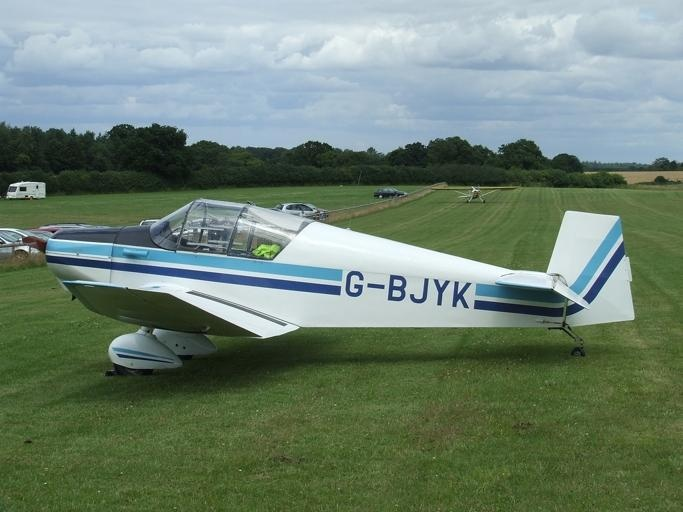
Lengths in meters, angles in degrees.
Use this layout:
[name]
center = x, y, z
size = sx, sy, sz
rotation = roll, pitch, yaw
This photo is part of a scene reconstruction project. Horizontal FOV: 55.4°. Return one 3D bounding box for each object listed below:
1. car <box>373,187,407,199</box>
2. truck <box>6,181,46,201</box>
[car]
center = 4.975, -6.777, 71.338
size = 2.844, 1.226, 7.201
rotation = 2, 5, 2
[truck]
center = -36.789, -7.553, 76.315
size = 1.637, 2.020, 3.661
rotation = 5, 7, 26
